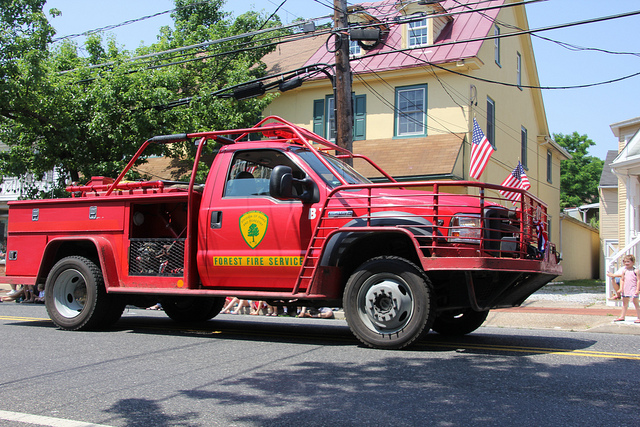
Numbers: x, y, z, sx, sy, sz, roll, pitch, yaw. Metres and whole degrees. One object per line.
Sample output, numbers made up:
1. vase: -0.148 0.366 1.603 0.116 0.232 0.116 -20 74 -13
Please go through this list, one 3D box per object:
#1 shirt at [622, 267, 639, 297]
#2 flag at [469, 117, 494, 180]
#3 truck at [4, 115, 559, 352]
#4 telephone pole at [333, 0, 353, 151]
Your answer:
1. shirt: 6.863 1.528 12.875 0.279 0.573 0.424 0 -2 27
2. flag: 5.407 -2.213 19.573 0.683 2.110 1.371 0 -2 15
3. truck: -0.816 0.510 11.116 9.303 3.619 4.820 -5 -8 23
4. telephone pole: 0.642 -3.930 16.175 0.497 4.445 1.094 1 -2 1
